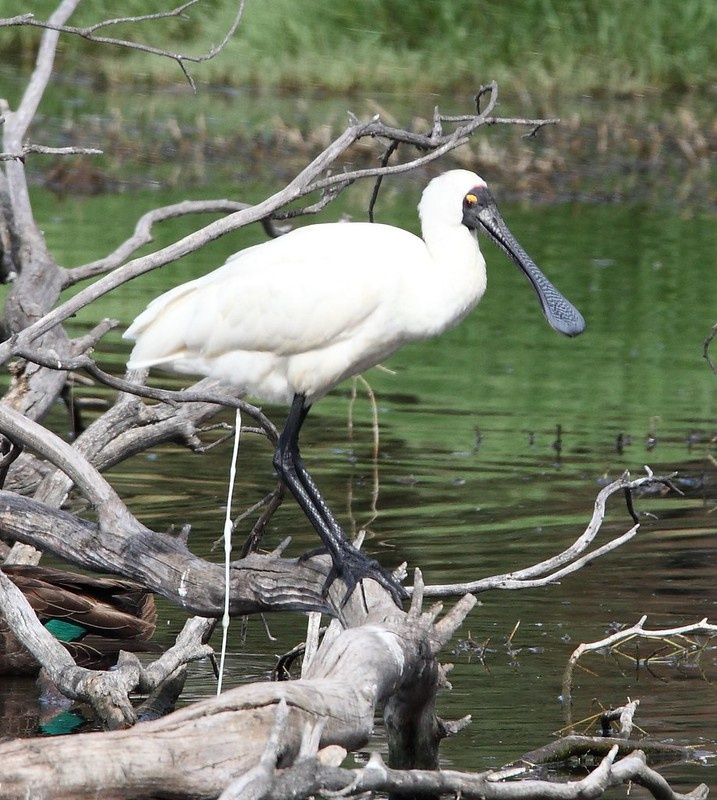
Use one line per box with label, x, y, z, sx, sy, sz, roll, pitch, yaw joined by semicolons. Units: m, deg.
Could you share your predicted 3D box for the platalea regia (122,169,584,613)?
platalea regia;-0.059;-0.215;5.017;1.230;1.676;1.191;3;-1;38
